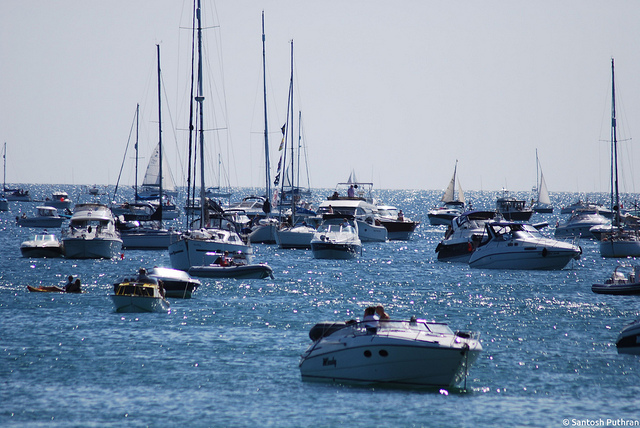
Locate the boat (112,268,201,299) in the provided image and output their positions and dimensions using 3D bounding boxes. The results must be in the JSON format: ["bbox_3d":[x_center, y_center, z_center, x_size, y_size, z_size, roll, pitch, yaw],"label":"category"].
[{"bbox_3d":[-10.171,4.439,81.431,6.103,2.169,3.747,-2,3,-11],"label":"boat"}]

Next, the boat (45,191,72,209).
[{"bbox_3d":[-33.628,-1.570,163.812,3.448,1.831,1.915,-6,-3,40],"label":"boat"}]

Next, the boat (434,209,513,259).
[{"bbox_3d":[11.838,1.562,98.267,4.715,3.082,8.010,-2,1,-34],"label":"boat"}]

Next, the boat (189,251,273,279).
[{"bbox_3d":[-6.320,3.445,87.179,5.351,2.130,3.125,-1,-2,1],"label":"boat"}]

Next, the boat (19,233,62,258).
[{"bbox_3d":[-20.633,2.443,95.607,2.863,1.378,1.603,-1,13,-11],"label":"boat"}]

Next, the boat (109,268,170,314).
[{"bbox_3d":[-10.830,4.725,77.234,3.062,2.316,1.268,-1,13,-9],"label":"boat"}]

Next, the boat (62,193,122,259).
[{"bbox_3d":[-17.596,0.809,100.103,4.180,5.161,12.310,1,1,-5],"label":"boat"}]

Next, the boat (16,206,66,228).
[{"bbox_3d":[-28.205,0.527,129.858,4.738,2.214,2.159,-1,4,-5],"label":"boat"}]

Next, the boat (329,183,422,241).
[{"bbox_3d":[6.326,0.304,119.822,3.907,6.643,16.280,-3,-7,39],"label":"boat"}]
